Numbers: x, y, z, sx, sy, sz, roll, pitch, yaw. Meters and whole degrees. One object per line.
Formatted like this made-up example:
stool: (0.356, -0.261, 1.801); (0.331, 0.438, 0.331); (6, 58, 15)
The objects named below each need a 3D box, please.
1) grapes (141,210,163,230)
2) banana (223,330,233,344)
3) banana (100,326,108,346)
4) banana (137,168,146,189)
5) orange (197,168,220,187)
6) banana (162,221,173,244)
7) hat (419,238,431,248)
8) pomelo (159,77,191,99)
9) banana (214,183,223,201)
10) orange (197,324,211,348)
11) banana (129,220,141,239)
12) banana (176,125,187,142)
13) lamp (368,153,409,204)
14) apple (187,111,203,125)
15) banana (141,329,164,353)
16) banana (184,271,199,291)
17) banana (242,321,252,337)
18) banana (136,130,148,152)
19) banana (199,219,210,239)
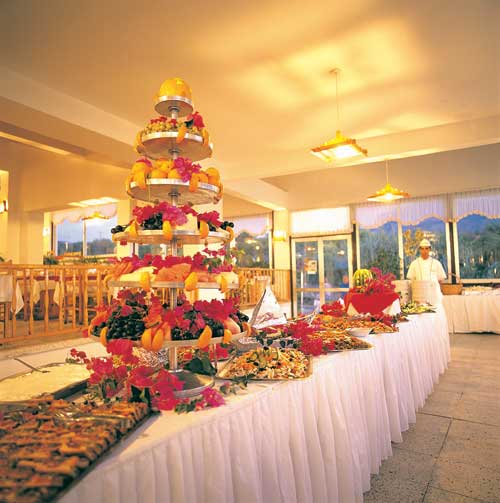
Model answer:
grapes: (-0.383, -0.115, 1.806); (0.100, 0.072, 0.050); (14, 10, 37)
banana: (-0.088, 0.355, 1.798); (0.055, 0.038, 0.051); (0, 4, -3)
banana: (-0.563, 0.341, 1.727); (0.031, 0.078, 0.072); (6, 8, -20)
banana: (-0.442, -0.298, 1.842); (0.033, 0.078, 0.047); (7, 9, -15)
orange: (-0.193, -0.315, 1.948); (0.093, 0.035, 0.087); (22, 23, 8)
banana: (-0.328, -0.073, 1.780); (0.042, 0.068, 0.025); (-2, 9, -25)
hat: (2.776, -0.118, 7.124); (0.202, 0.146, 0.266); (-2, -7, 24)
pomelo: (-0.324, -0.710, 1.955); (0.141, 0.100, 0.101); (7, 8, -9)
banana: (-0.138, -0.262, 2.045); (0.023, 0.067, 0.068); (18, -1, 1)
orange: (-0.171, 0.335, 1.682); (0.054, 0.076, 0.019); (38, -16, -12)
banana: (-0.457, -0.083, 1.827); (0.055, 0.067, 0.052); (-2, 9, -4)
banana: (-0.283, -0.484, 1.850); (0.043, 0.062, 0.019); (24, -4, -26)
lamp: (2.134, -1.122, 7.003); (0.543, 0.496, 0.515); (-12, 12, -38)
apple: (-0.239, -0.586, 1.968); (0.062, 0.039, 0.076); (6, 17, 10)
banana: (-0.352, 0.335, 1.628); (0.075, 0.076, 0.086); (5, 2, -13)
banana: (-0.218, 0.122, 1.674); (0.049, 0.068, 0.043); (11, -18, 16)
banana: (-0.013, 0.351, 1.964); (0.017, 0.064, 0.067); (-12, -38, -11)
banana: (-0.472, -0.471, 1.937); (0.037, 0.079, 0.078); (2, 0, 3)
banana: (-0.187, -0.084, 1.857); (0.063, 0.077, 0.111); (-3, 3, -12)
